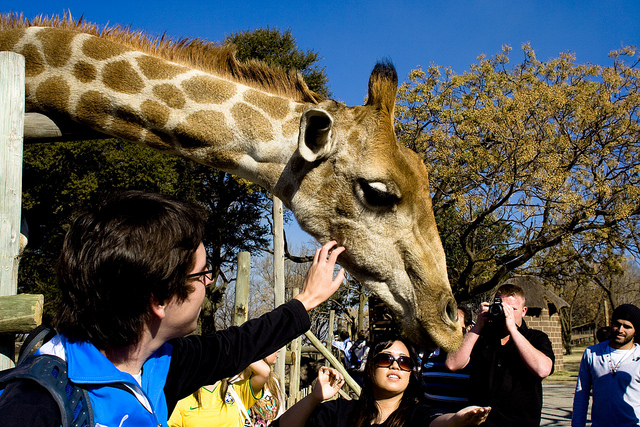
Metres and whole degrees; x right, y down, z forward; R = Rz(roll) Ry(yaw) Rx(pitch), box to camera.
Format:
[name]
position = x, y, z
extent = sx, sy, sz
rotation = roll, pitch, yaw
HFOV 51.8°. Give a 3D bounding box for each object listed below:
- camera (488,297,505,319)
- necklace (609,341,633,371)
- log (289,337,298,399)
[camera]
position = 2.163, 1.147, 8.087
extent = 0.219, 0.362, 0.198
rotation = -1, -22, 17
[necklace]
position = 4.091, 1.950, 8.926
extent = 0.015, 0.452, 0.129
rotation = -1, 29, -38
[log]
position = -0.627, 3.467, 14.536
extent = 0.198, 0.218, 2.028
rotation = -7, 21, -1
